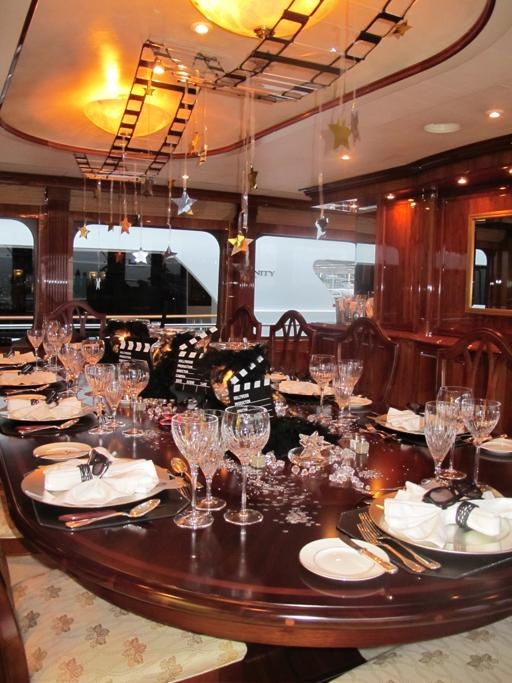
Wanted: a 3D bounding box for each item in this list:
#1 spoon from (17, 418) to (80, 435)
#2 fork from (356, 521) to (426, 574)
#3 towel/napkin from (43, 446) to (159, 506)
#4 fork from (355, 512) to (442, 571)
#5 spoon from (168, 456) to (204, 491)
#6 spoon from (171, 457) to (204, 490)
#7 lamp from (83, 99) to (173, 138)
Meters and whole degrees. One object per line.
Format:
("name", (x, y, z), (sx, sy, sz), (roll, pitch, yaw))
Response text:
("spoon", (-0.632, 0.252, 1.512), (0.182, 0.033, 0.048), (-4, 12, -35))
("fork", (0.206, 0.310, 0.761), (0.023, 0.022, 0.155), (-4, 16, -15))
("towel/napkin", (-0.293, 0.234, 0.937), (0.117, 0.035, 0.117), (-3, 8, -45))
("fork", (0.212, 0.310, 0.762), (0.032, 0.017, 0.121), (-7, 16, -17))
("spoon", (-0.161, 0.289, 1.120), (0.033, 0.024, 0.150), (-14, 15, -13))
("spoon", (-0.161, 0.285, 1.128), (0.033, 0.024, 0.154), (-11, 15, -15))
("lamp", (-0.903, -1.593, 3.488), (0.437, 0.139, 0.434), (0, 12, -13))
